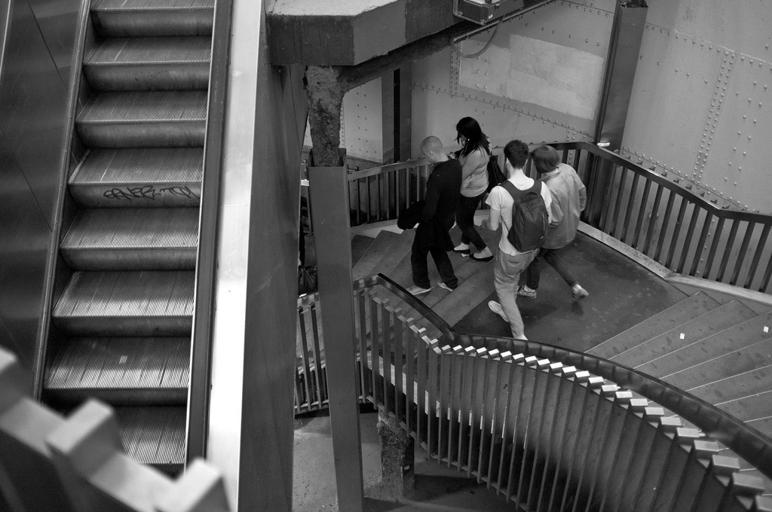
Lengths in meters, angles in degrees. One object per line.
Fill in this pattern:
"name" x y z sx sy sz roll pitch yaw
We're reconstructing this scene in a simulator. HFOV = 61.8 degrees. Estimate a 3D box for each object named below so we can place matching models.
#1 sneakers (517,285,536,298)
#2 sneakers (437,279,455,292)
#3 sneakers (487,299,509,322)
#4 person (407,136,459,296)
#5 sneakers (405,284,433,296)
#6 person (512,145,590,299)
"sneakers" 1.919 0.496 8.781 0.111 0.283 0.125 -64 -22 -4
"sneakers" 0.845 0.421 9.086 0.103 0.248 0.101 -54 -27 -8
"sneakers" 1.464 0.713 8.592 0.368 0.158 0.129 42 -72 -5
"person" 0.679 -0.489 8.718 0.698 0.667 2.310 -16 -55 -21
"sneakers" 0.461 0.499 9.216 0.366 0.152 0.156 3 -12 19
"person" 2.142 -0.321 8.222 0.753 0.709 2.191 -11 -55 -14
